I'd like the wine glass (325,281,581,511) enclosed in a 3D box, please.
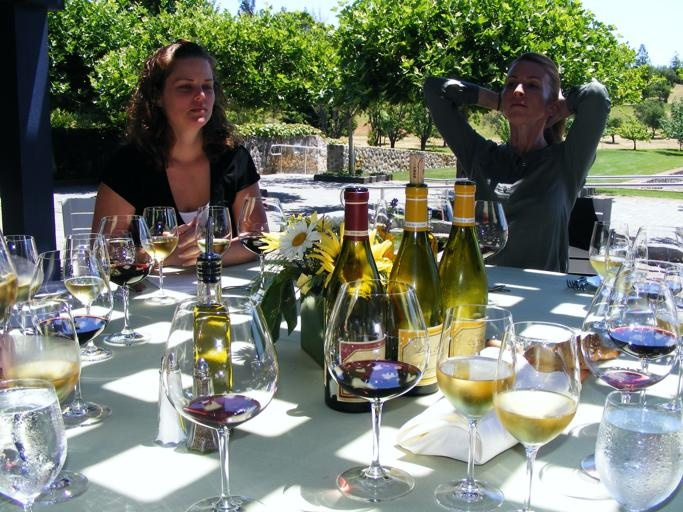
[{"bbox_3d":[0.192,0.279,1.041,0.326,0.320,0.146,1,5,11],"label":"wine glass"}]
